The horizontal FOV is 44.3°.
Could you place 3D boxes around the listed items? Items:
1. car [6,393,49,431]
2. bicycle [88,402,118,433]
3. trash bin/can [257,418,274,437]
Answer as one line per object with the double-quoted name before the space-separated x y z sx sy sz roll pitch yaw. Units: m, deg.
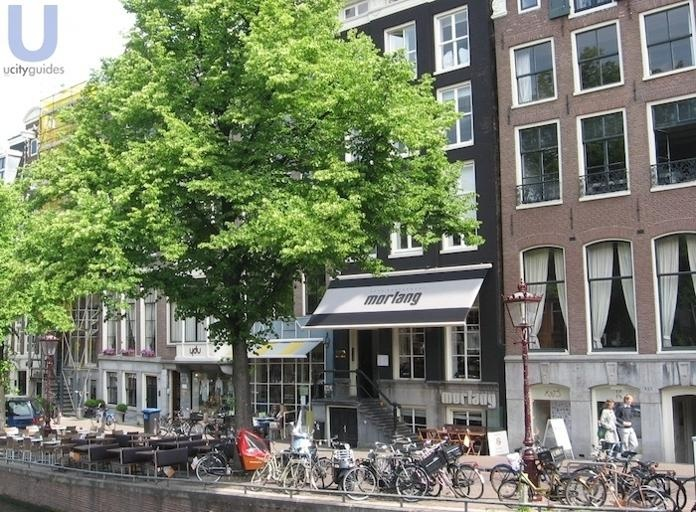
"car" -16.787 7.942 43.689 1.358 1.160 2.230 3 -1 -40
"bicycle" -13.912 8.814 47.926 0.878 1.202 2.397 -13 -21 12
"trash bin/can" -3.816 7.831 39.423 0.692 0.968 0.701 -11 -16 41
